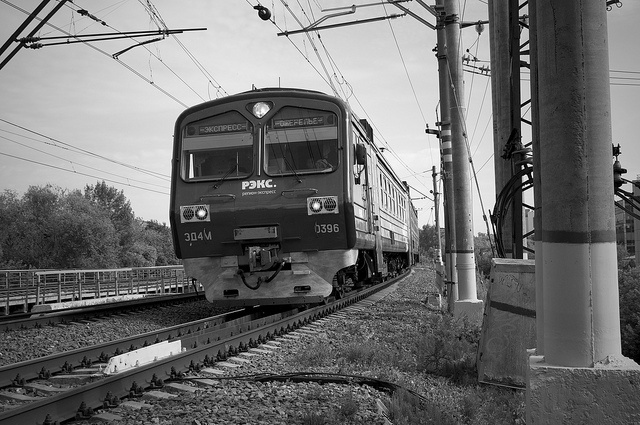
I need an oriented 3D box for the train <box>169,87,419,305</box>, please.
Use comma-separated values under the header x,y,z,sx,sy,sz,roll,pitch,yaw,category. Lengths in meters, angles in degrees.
x,y,z,sx,sy,sz,roll,pitch,yaw,category
-0.383,-0.260,12.431,3.233,4.494,4.974,-7,-7,36,train
